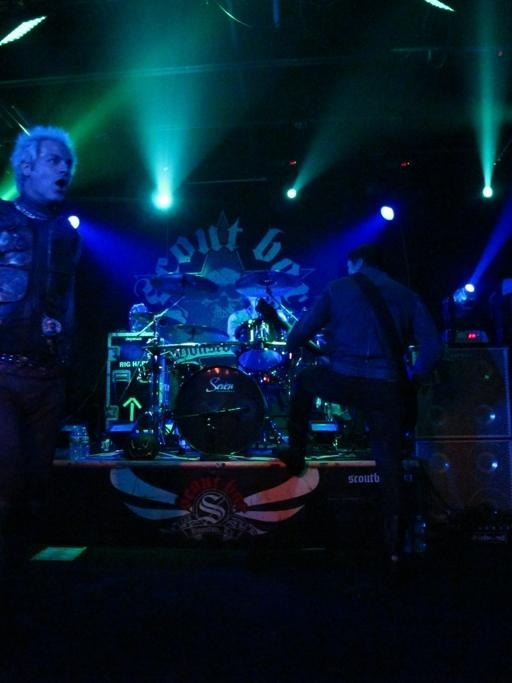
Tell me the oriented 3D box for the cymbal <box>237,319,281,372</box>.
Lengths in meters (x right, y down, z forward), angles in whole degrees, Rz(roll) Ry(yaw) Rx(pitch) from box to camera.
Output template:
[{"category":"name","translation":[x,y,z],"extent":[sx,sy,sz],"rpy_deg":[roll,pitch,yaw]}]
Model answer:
[{"category":"cymbal","translation":[0.029,0.045,6.066],"extent":[0.430,0.382,0.436],"rpy_deg":[-7,-38,6]}]

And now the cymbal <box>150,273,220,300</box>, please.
[{"category":"cymbal","translation":[-0.658,-0.521,6.757],"extent":[0.565,0.178,0.858],"rpy_deg":[1,3,10]}]

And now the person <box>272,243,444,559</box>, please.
[{"category":"person","translation":[0.576,0.355,4.170],"extent":[0.806,1.552,0.512],"rpy_deg":[3,4,37]}]

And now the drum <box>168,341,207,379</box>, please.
[{"category":"drum","translation":[-0.604,0.142,6.192],"extent":[0.289,0.120,0.365],"rpy_deg":[-1,13,3]}]

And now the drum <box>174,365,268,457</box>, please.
[{"category":"drum","translation":[-0.265,0.508,5.465],"extent":[0.666,0.614,0.446],"rpy_deg":[0,3,-6]}]

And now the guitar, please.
[{"category":"guitar","translation":[0.514,0.155,4.532],"extent":[0.915,1.075,0.359],"rpy_deg":[2,3,7]}]
